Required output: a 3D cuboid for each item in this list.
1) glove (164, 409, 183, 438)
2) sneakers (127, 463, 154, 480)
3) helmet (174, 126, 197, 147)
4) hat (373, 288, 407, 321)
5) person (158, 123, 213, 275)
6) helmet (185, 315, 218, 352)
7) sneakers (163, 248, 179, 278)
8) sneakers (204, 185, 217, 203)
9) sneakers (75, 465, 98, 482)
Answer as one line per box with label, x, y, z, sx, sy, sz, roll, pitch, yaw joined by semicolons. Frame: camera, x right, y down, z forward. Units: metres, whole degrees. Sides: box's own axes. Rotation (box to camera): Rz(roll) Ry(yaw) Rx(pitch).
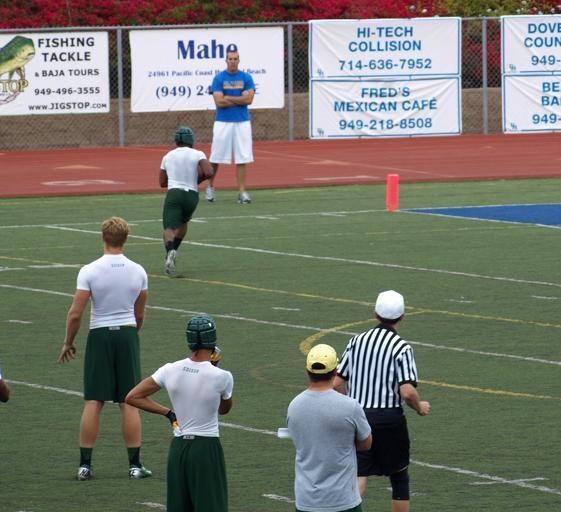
glove;-0.753;1.170;11.294;0.081;0.201;0.155;-14;-4;1
sneakers;-1.081;1.659;12.349;0.080;0.086;0.204;2;2;42
helmet;-1.134;-1.404;19.059;0.205;0.232;0.251;3;11;8
hat;0.790;0.345;11.643;0.164;0.111;0.241;2;20;8
person;-1.131;-0.647;19.002;0.595;1.741;0.853;0;4;-3
helmet;-0.557;0.528;11.168;0.239;0.261;0.303;-2;17;-1
sneakers;-1.272;0.089;18.736;0.130;0.348;0.166;5;11;-7
sneakers;-1.153;-1.008;26.092;0.163;0.240;0.252;0;-3;-4
sneakers;-1.493;1.670;12.313;0.123;0.128;0.318;0;-1;-5
